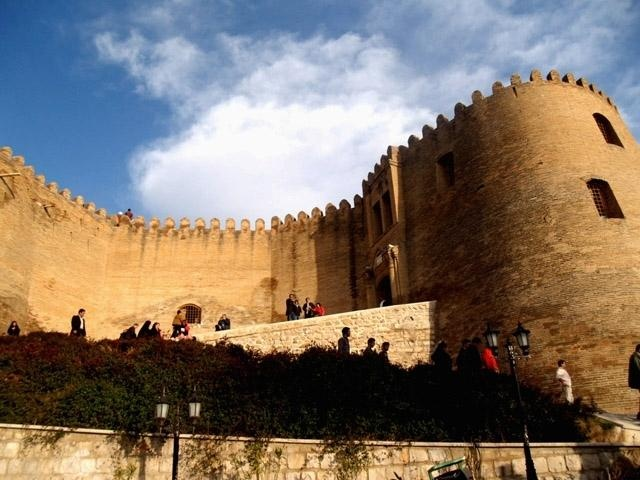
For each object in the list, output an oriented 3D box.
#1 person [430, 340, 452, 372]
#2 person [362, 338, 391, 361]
[{"bbox_3d":[3.027,2.937,12.644,0.402,0.856,0.629,-7,-27,5],"label":"person"},{"bbox_3d":[1.524,3.028,13.644,0.847,0.776,0.588,2,-8,2],"label":"person"}]
